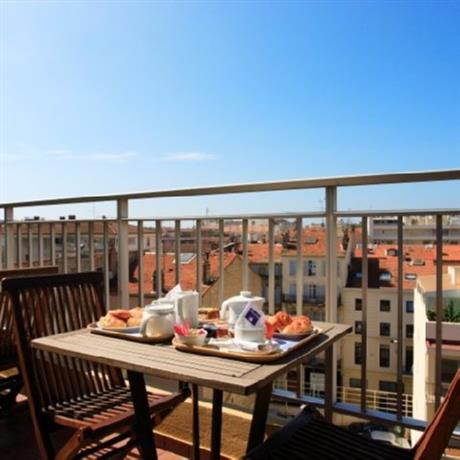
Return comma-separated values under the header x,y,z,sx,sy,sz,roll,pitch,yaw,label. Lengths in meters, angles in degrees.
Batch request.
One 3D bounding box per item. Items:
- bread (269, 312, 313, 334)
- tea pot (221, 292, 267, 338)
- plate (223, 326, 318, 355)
x,y,z,sx,sy,sz,roll,pitch,yaw,label
0.184,0.253,1.206,0.083,0.038,0.068,5,6,24,bread
0.047,0.265,1.346,0.116,0.136,0.109,0,-3,0,tea pot
0.098,0.280,1.114,0.189,0.062,0.135,6,2,29,plate
